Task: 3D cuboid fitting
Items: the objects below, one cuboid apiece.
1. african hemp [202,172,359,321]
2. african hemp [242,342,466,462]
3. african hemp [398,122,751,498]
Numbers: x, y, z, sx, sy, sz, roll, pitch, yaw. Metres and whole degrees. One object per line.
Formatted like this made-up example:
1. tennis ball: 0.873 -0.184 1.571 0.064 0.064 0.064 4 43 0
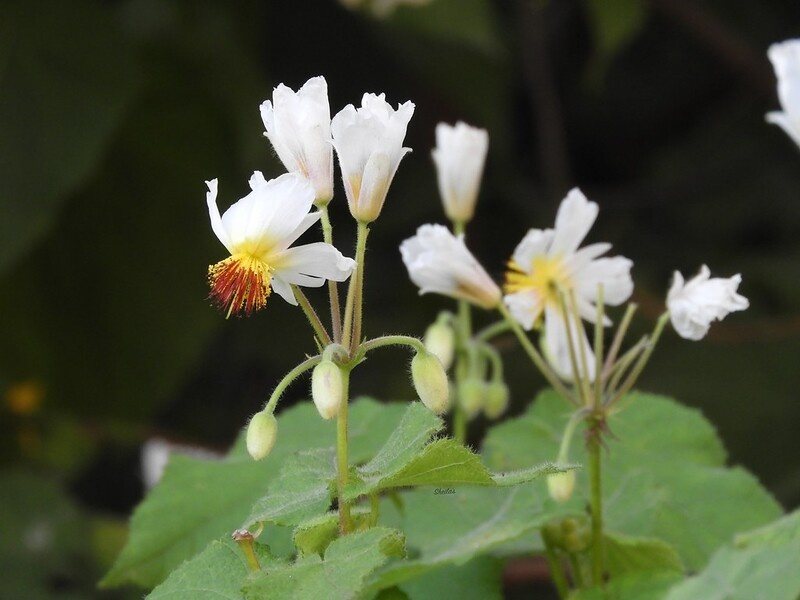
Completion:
1. african hemp: -0.069 -0.030 0.495 0.096 0.090 0.042 43 29 22
2. african hemp: -0.031 0.058 0.449 0.111 0.064 0.059 -7 0 16
3. african hemp: 0.121 0.000 0.612 0.253 0.267 0.277 8 16 16
